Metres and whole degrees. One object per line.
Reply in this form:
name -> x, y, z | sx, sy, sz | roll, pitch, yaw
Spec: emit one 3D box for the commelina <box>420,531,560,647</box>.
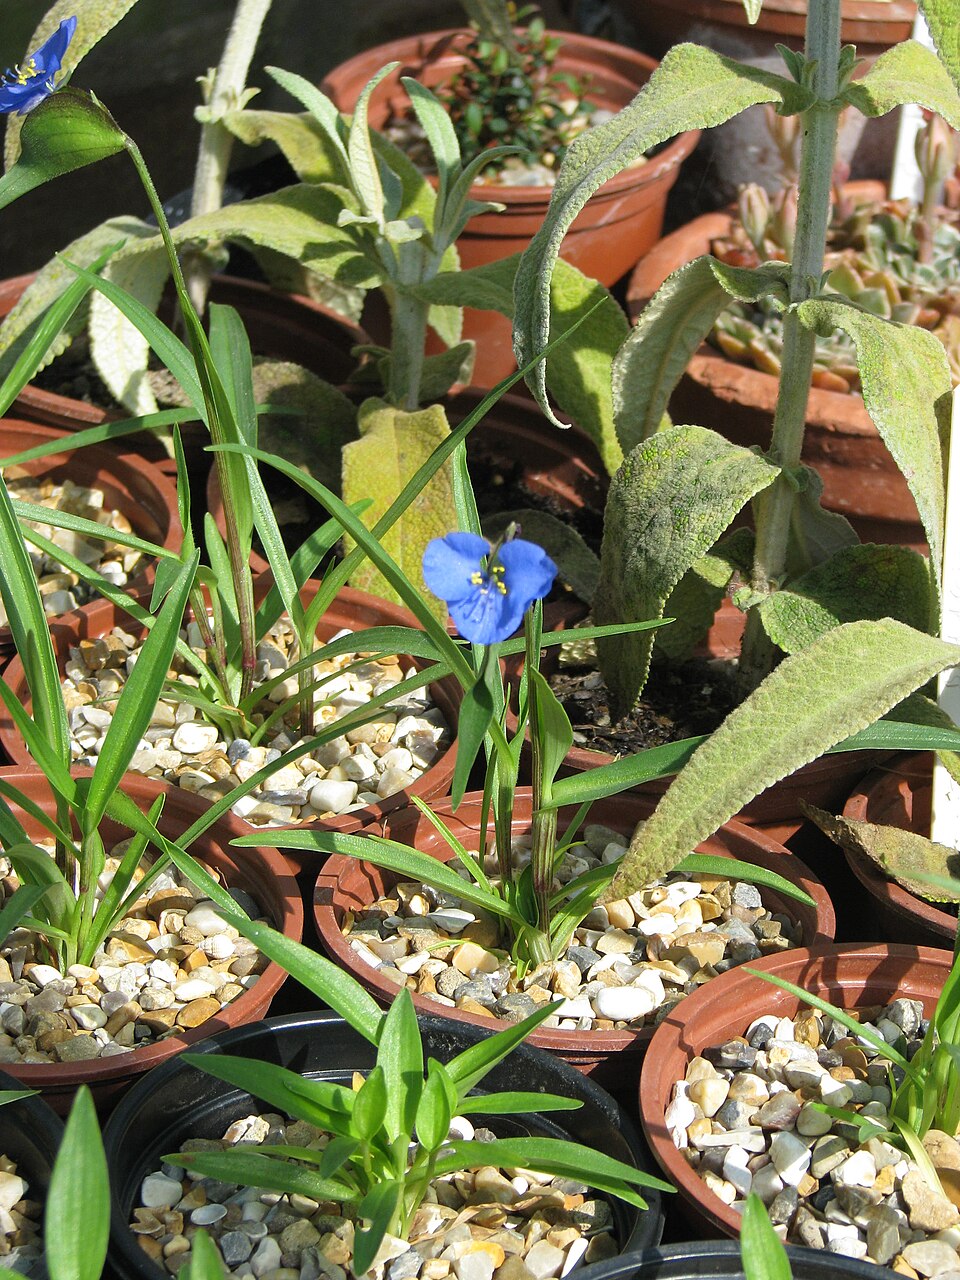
commelina -> 0.000, -0.020, 0.524 | 0.055, 0.047, 0.023 | 1, -6, 24
